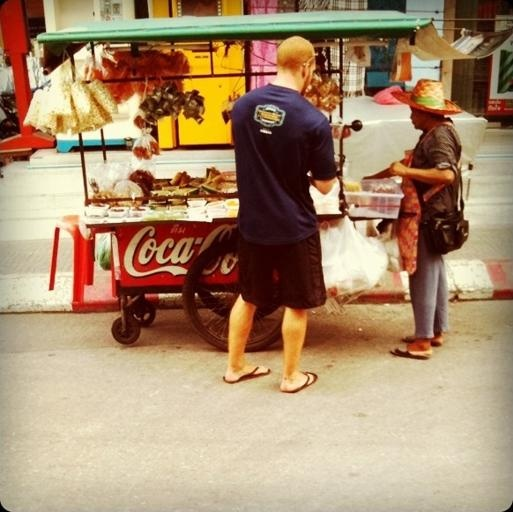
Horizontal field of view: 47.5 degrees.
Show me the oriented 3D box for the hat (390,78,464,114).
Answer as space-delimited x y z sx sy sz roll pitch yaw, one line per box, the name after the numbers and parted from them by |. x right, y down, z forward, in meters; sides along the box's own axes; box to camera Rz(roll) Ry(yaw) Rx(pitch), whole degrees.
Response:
1.213 -1.164 4.144 0.514 0.161 0.494 29 32 32 | hat

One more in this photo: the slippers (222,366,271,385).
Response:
-0.079 0.786 3.978 0.302 0.057 0.114 -14 23 -28 | slippers

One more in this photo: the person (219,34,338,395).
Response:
0.124 -0.195 3.611 0.721 2.209 0.385 0 16 6 | person

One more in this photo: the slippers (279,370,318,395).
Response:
0.293 0.816 3.842 0.113 0.040 0.229 11 23 37 | slippers

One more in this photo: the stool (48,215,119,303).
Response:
-1.747 -0.005 5.339 0.577 0.499 0.592 -8 0 -27 | stool
